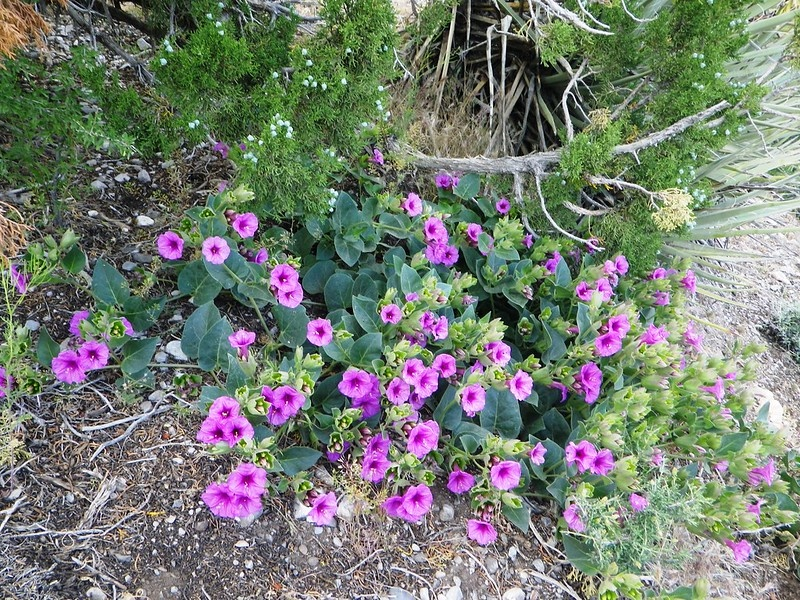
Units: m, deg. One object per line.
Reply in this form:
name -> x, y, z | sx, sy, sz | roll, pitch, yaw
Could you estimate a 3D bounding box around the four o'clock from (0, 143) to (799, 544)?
four o'clock -> 0.190, 0.453, 3.100 | 2.916, 1.097, 1.851 | -1, 65, -17
